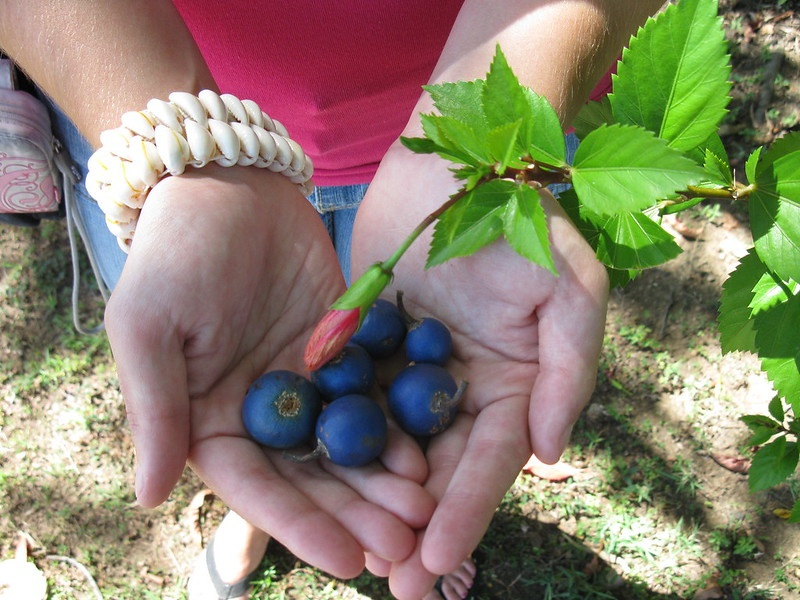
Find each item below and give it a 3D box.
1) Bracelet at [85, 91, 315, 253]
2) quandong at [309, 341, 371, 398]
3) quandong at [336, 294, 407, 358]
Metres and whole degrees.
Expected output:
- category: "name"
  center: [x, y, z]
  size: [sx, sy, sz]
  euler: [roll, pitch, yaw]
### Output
- category: "Bracelet"
  center: [-0.715, -0.492, 2.448]
  size: [0.608, 0.559, 0.257]
  euler: [-13, 56, -10]
- category: "quandong"
  center: [-0.205, 0.226, 2.429]
  size: [0.163, 0.169, 0.196]
  euler: [-2, 94, -35]
- category: "quandong"
  center: [-0.066, 0.114, 2.460]
  size: [0.167, 0.195, 0.190]
  euler: [-4, 32, -7]
